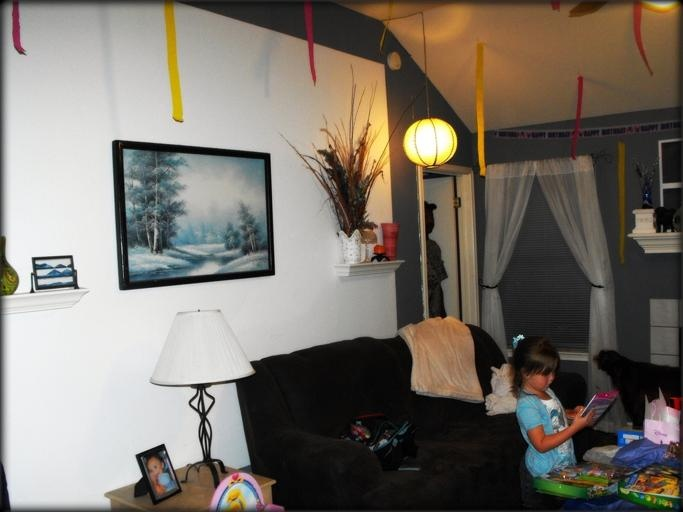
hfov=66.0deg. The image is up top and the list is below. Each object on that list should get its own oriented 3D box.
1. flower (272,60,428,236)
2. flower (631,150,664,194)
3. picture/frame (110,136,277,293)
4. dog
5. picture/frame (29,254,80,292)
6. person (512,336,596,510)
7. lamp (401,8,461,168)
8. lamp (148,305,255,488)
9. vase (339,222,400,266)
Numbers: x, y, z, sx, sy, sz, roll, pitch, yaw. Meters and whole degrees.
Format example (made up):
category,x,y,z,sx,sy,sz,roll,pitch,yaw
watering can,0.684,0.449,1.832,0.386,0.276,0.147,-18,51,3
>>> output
category,x,y,z,sx,sy,sz,roll,pitch,yaw
flower,0.020,-0.700,4.165,0.878,1.035,0.690,-12,-11,33
flower,2.822,-0.789,4.914,0.242,0.392,0.473,0,6,31
picture/frame,-0.917,-0.249,3.131,0.983,0.739,0.084,-2,-2,-43
dog,2.275,1.020,3.974,0.363,0.482,0.759,-3,5,-5
picture/frame,-1.445,0.085,2.628,0.023,0.156,0.179,-16,-13,42
person,1.110,0.914,2.770,0.389,0.999,0.623,-1,6,18
lamp,0.812,-1.448,4.770,0.450,1.334,1.665,-2,5,12
lamp,-0.744,0.758,2.770,0.477,0.984,0.576,-6,6,-30
vase,0.223,-0.108,4.229,0.576,0.271,0.181,-11,13,-28
